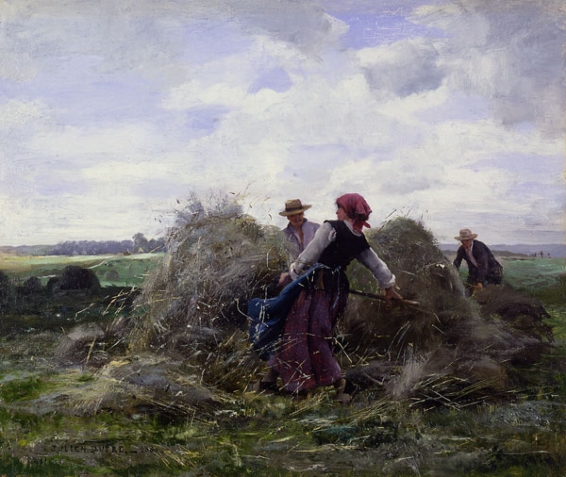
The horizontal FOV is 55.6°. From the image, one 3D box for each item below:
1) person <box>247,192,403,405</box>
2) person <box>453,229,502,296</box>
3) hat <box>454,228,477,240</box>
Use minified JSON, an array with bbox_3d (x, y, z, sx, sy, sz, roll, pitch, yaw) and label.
[{"bbox_3d":[0.342,0.525,4.969,1.323,1.828,0.495,-1,-5,-4],"label":"person"},{"bbox_3d":[2.044,0.231,5.626,0.564,0.647,0.123,0,-5,-13],"label":"person"},{"bbox_3d":[1.684,-0.026,4.956,0.131,0.044,0.139,-11,1,39],"label":"hat"}]
